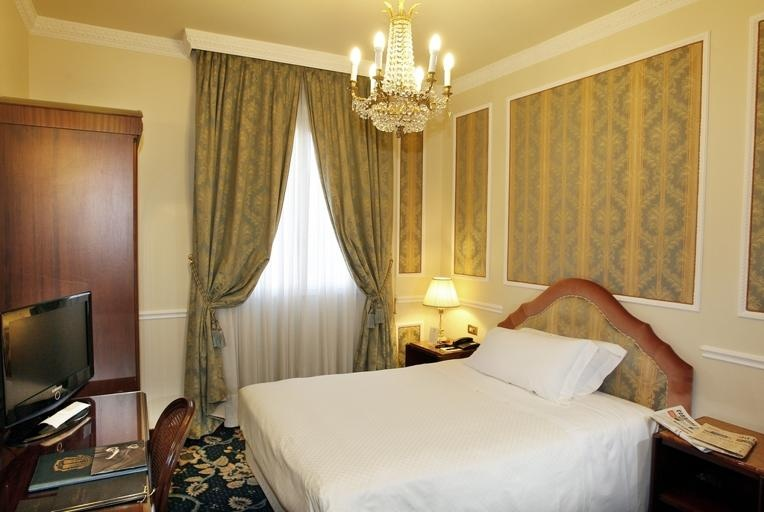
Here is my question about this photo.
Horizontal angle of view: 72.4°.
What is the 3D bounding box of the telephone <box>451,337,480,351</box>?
[{"bbox_3d":[0.918,0.966,5.665,0.206,0.067,0.150,-2,5,-17],"label":"telephone"}]
